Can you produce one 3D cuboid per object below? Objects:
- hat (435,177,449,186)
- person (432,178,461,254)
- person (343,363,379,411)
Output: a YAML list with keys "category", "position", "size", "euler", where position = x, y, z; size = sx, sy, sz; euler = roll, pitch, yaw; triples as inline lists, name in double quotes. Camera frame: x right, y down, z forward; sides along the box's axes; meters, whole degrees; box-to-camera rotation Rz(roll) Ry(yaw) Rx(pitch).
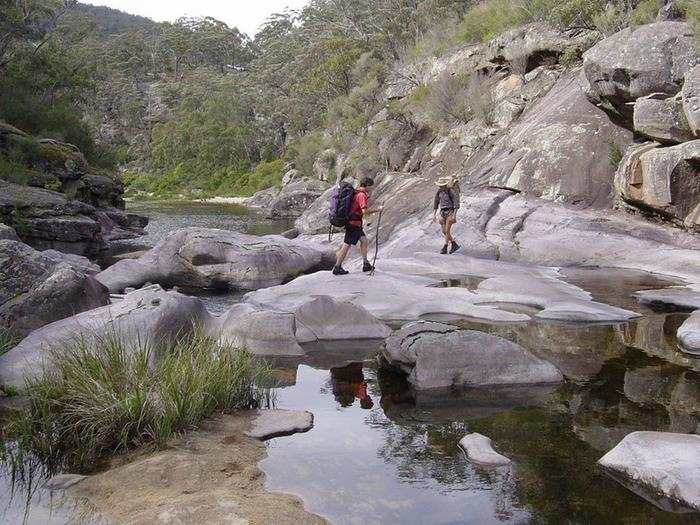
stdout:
- category: "hat"
  position: [2.043, -1.768, 13.195]
  size: [0.288, 0.127, 0.323]
  euler: [-2, 15, 34]
- category: "person"
  position: [2.116, -1.054, 13.319]
  size: [0.558, 1.600, 1.226]
  euler: [2, 15, 9]
- category: "person"
  position: [0.020, 1.410, 7.041]
  size: [0.230, 0.176, 0.730]
  euler: [-19, 20, 6]
